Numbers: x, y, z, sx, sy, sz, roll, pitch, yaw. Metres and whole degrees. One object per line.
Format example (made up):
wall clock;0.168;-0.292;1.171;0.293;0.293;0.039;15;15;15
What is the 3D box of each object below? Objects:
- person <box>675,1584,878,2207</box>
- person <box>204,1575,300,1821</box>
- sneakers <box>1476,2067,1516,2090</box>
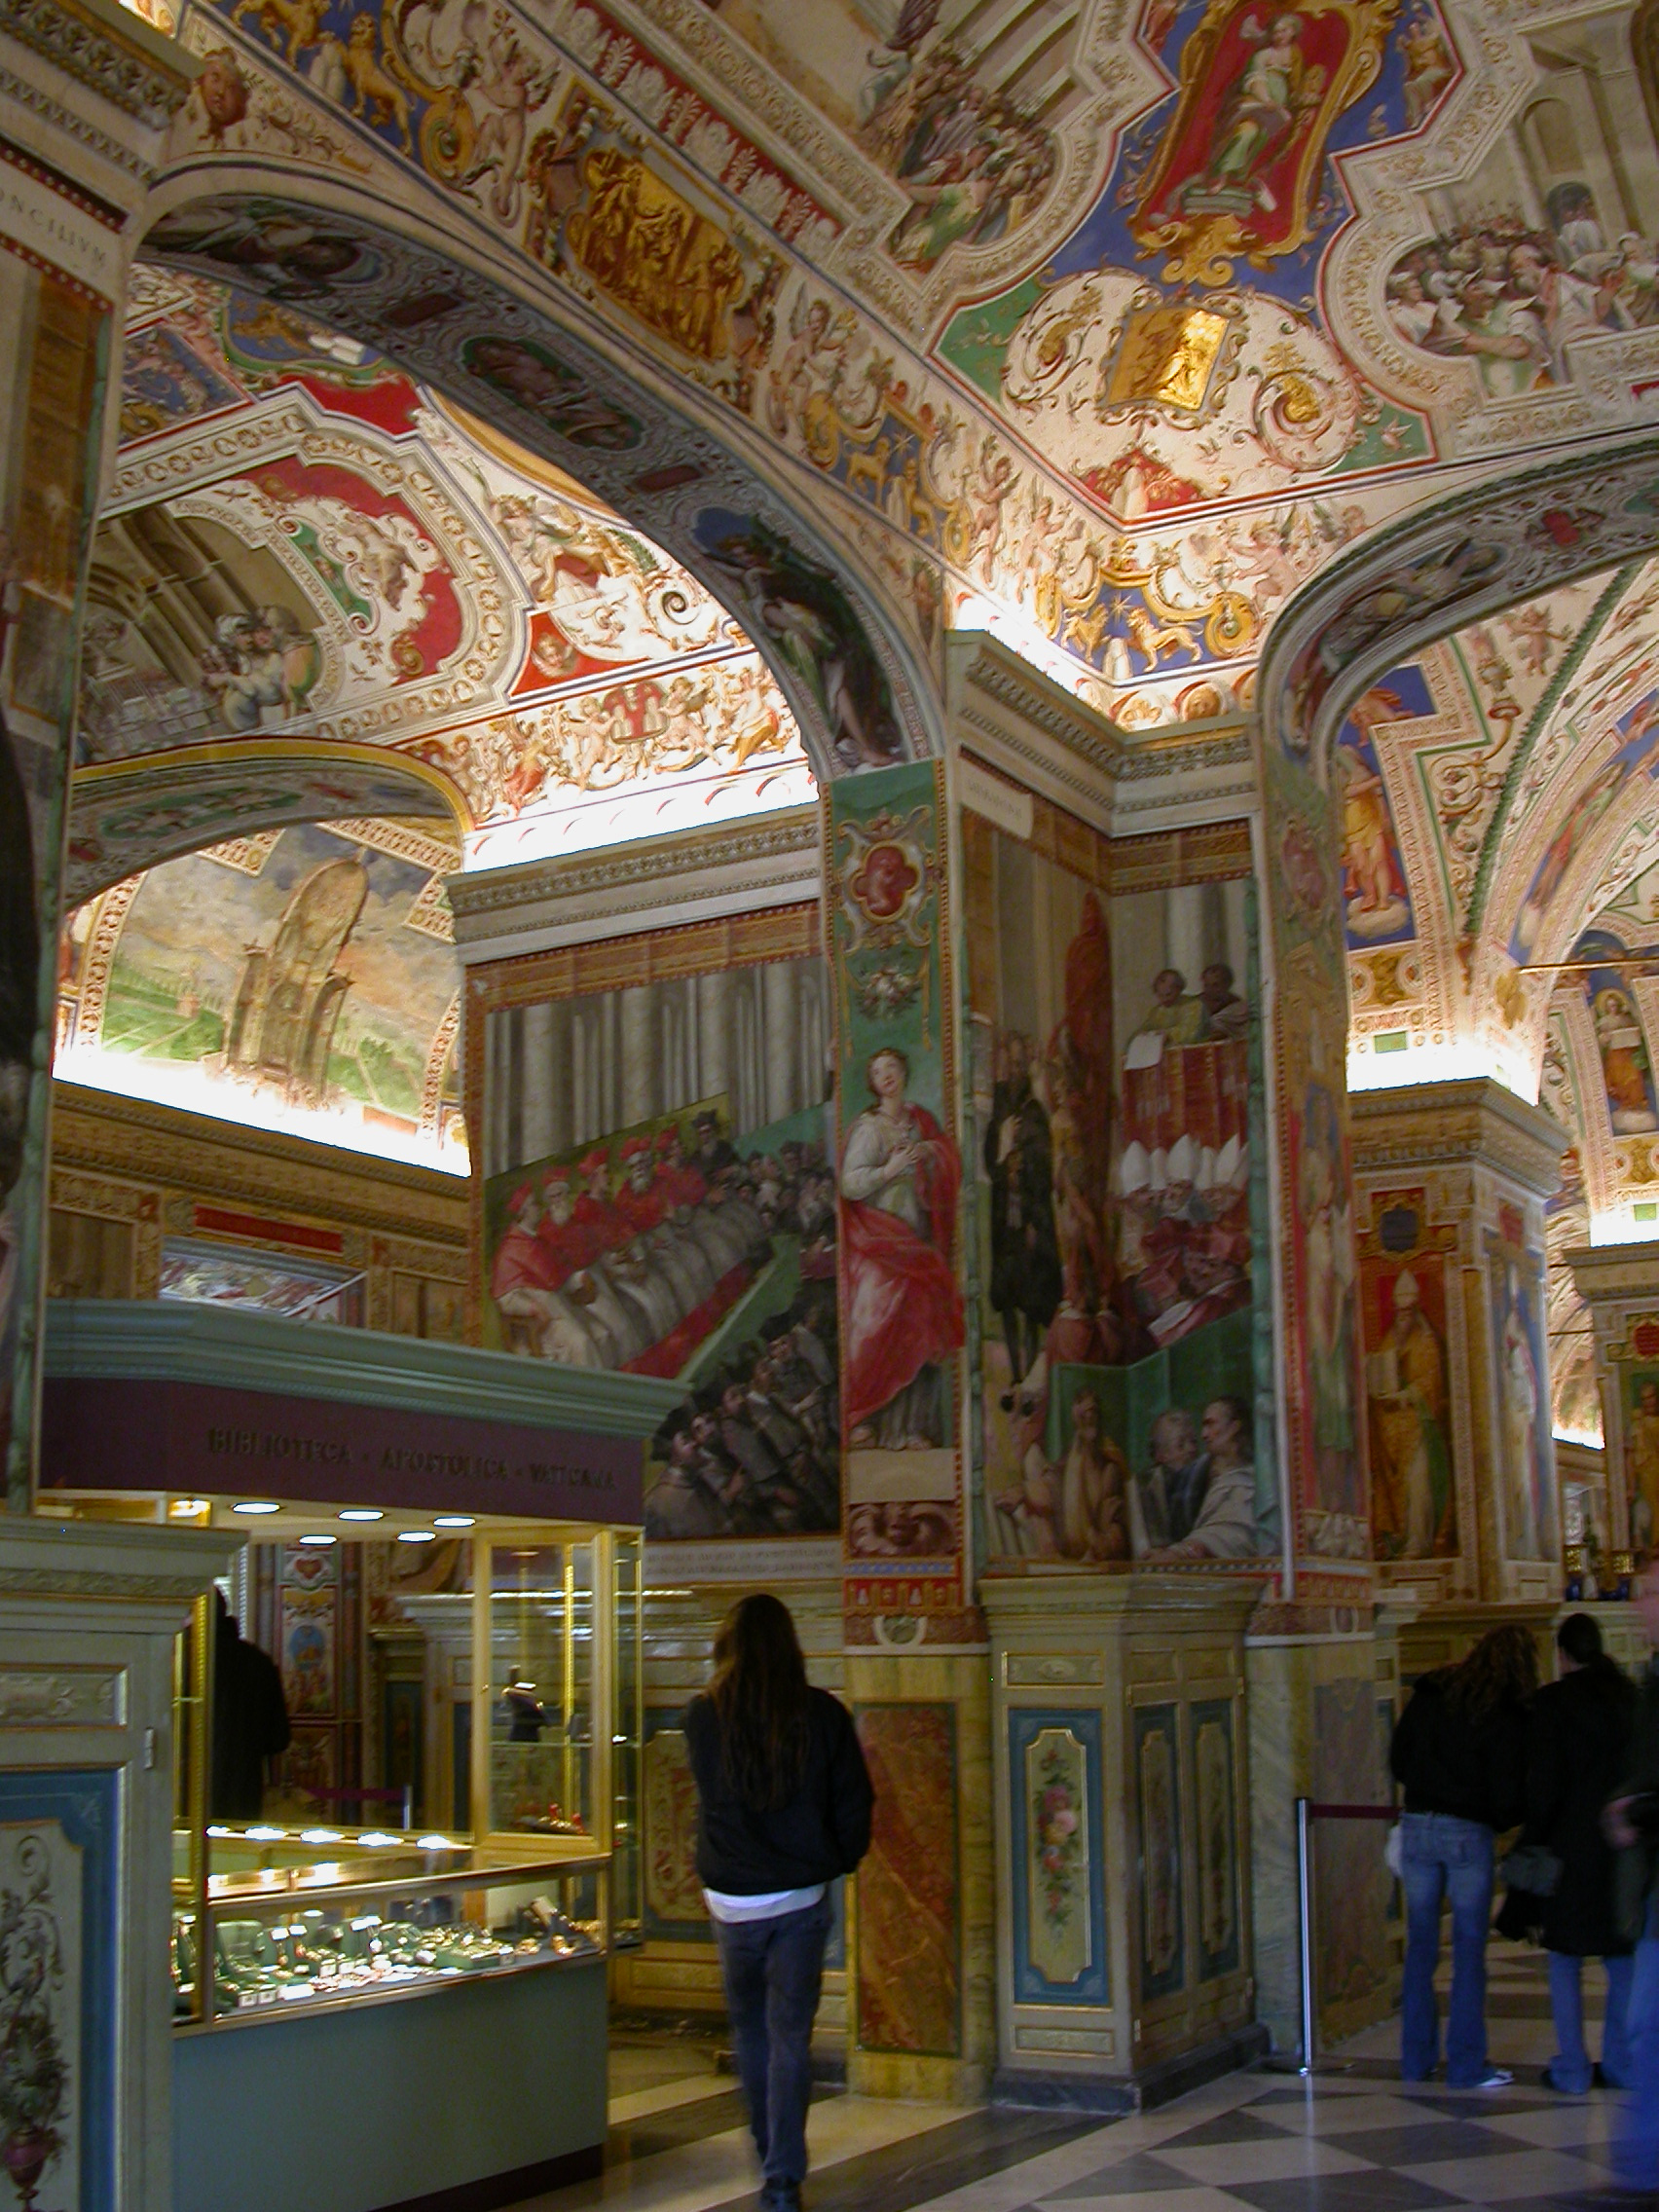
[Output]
person;-0.138;1.759;4.686;0.370;1.185;0.490;4;-15;-23
person;-1.807;1.874;6.272;0.204;0.674;1.512;2;-13;-15
sneakers;2.140;3.113;6.398;0.109;0.075;0.186;-3;-18;18
